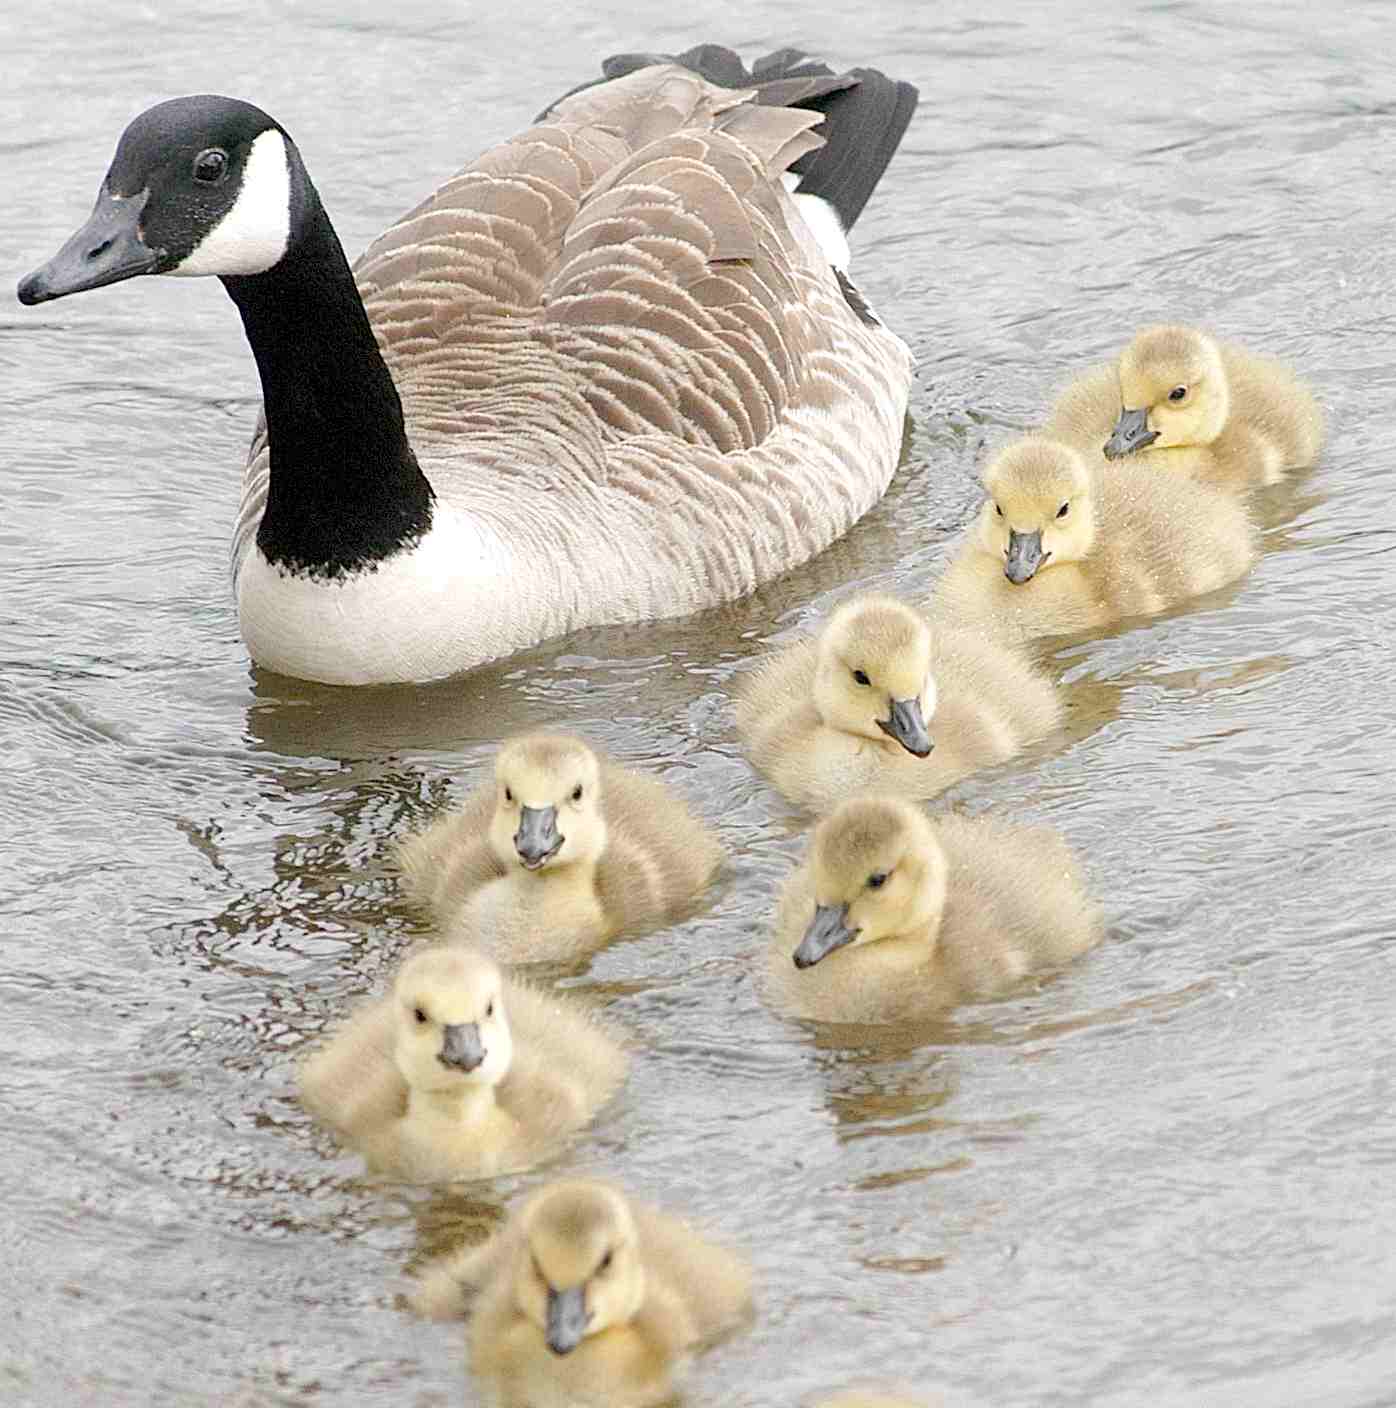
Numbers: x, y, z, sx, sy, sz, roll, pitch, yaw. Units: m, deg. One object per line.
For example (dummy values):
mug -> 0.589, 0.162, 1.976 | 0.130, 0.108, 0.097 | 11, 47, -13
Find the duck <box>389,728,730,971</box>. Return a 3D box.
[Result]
duck -> -0.362, 0.310, 4.999 | 0.685, 0.396, 0.686 | 0, 29, 4

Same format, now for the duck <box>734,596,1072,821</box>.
duck -> 0.517, -0.052, 5.616 | 0.739, 0.440, 0.754 | -5, 30, 15

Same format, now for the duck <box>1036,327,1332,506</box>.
duck -> 1.672, -1.019, 6.961 | 0.675, 0.466, 0.866 | 20, 39, 36

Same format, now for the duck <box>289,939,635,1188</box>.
duck -> -0.469, 0.713, 4.157 | 0.611, 0.337, 0.601 | -4, 25, -2

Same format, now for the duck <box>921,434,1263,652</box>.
duck -> 1.264, -0.543, 6.355 | 0.756, 0.435, 0.916 | 3, 29, 34
